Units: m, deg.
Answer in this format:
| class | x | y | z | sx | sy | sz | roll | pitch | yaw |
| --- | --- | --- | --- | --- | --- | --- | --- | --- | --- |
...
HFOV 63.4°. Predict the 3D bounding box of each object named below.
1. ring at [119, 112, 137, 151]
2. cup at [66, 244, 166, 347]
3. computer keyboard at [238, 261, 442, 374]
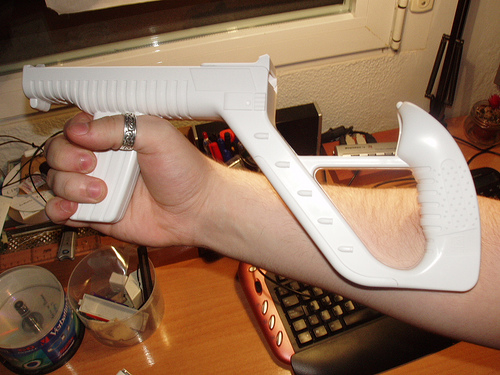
| class | x | y | z | sx | sy | sz | roll | pitch | yaw |
| --- | --- | --- | --- | --- | --- | --- | --- | --- | --- |
| ring | -0.211 | -0.096 | 0.699 | 0.021 | 0.067 | 0.062 | 6 | 6 | -21 |
| cup | -0.263 | 0.227 | 0.873 | 0.182 | 0.133 | 0.190 | -1 | 70 | 2 |
| computer keyboard | 0.139 | 0.174 | 0.731 | 0.246 | 0.051 | 0.233 | -11 | 41 | -26 |
